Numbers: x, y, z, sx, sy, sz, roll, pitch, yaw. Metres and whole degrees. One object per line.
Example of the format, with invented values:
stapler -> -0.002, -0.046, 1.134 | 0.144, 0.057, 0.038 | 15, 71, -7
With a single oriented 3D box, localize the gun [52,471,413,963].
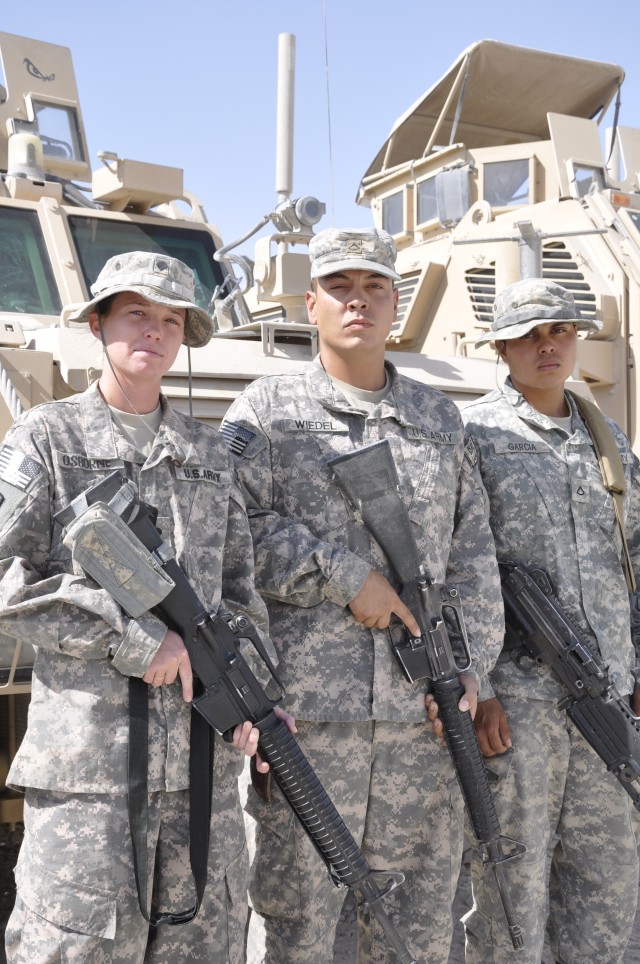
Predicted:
gun -> -0.199, 0.511, 2.086 | 0.390, 1.140, 0.489 | -19, 19, 49

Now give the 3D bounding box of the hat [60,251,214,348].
hat -> -0.409, -0.453, 2.134 | 0.228, 0.100, 0.187 | -2, 11, 23

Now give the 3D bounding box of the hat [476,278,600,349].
hat -> 0.622, -0.545, 2.926 | 0.398, 0.162, 0.344 | -5, 12, 11
